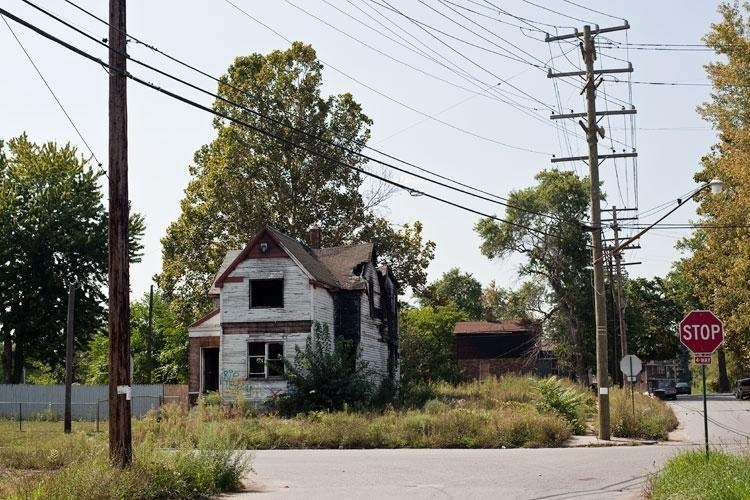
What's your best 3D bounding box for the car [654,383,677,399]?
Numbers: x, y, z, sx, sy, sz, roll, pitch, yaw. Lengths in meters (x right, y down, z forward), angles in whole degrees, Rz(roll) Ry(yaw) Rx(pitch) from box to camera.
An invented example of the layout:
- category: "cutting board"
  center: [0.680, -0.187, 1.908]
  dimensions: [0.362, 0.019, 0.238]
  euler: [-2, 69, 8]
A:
- category: "car"
  center: [27.523, 13.379, 106.931]
  dimensions: [1.348, 1.246, 2.432]
  euler: [0, 5, 10]
